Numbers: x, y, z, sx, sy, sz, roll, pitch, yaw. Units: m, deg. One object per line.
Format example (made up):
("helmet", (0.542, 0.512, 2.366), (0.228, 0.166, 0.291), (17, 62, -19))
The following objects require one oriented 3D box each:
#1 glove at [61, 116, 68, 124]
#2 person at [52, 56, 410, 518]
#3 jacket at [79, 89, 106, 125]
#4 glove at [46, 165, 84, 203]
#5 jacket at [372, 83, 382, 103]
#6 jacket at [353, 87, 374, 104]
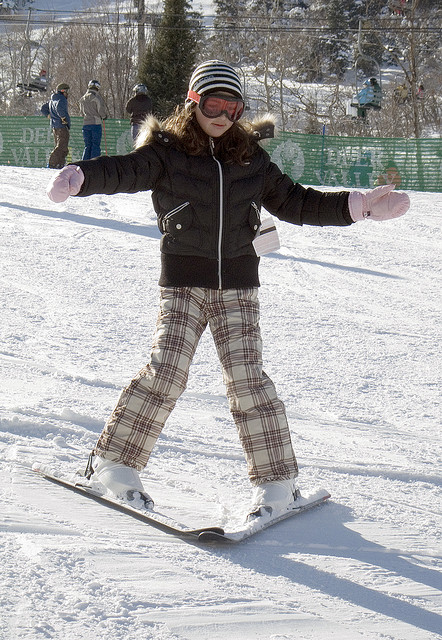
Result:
("glove", (-2.825, -3.597, 13.850), (0.088, 0.123, 0.292), (8, 8, -6))
("person", (-0.001, -0.145, 2.670), (1.026, 1.487, 0.651), (11, 9, 8))
("jacket", (-2.227, -3.699, 13.411), (0.575, 0.613, 0.266), (14, 10, 30))
("glove", (-0.513, -0.437, 2.450), (0.146, 0.125, 0.114), (16, 11, 41))
("jacket", (4.185, -6.101, 20.563), (0.356, 0.412, 0.156), (3, 2, -9))
("jacket", (3.853, -6.036, 20.691), (0.251, 0.408, 0.619), (2, 11, -40))
